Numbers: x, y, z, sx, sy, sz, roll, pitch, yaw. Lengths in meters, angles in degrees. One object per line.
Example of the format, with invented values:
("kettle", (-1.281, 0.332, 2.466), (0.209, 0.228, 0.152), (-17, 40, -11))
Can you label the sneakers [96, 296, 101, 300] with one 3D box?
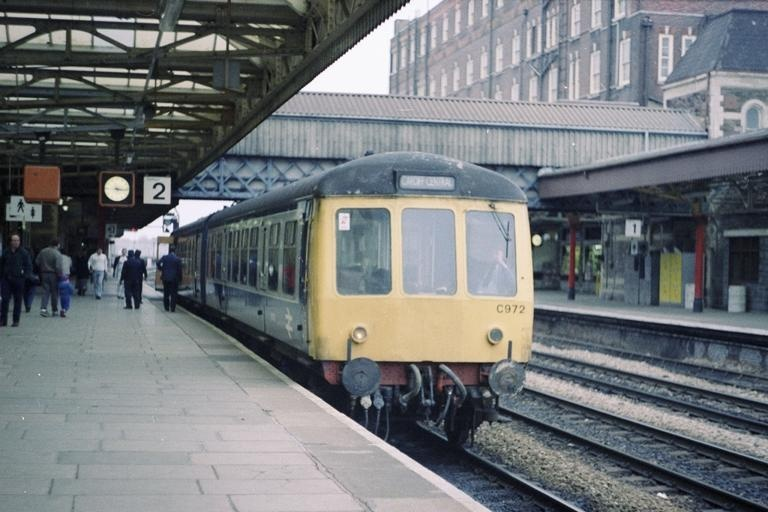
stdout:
("sneakers", (-11.207, 1.647, 30.385), (0.137, 0.126, 0.155), (0, 0, -12))

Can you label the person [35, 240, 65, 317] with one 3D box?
("person", (-9.296, 0.576, 21.718), (0.827, 2.227, 0.930), (4, -4, -36))
